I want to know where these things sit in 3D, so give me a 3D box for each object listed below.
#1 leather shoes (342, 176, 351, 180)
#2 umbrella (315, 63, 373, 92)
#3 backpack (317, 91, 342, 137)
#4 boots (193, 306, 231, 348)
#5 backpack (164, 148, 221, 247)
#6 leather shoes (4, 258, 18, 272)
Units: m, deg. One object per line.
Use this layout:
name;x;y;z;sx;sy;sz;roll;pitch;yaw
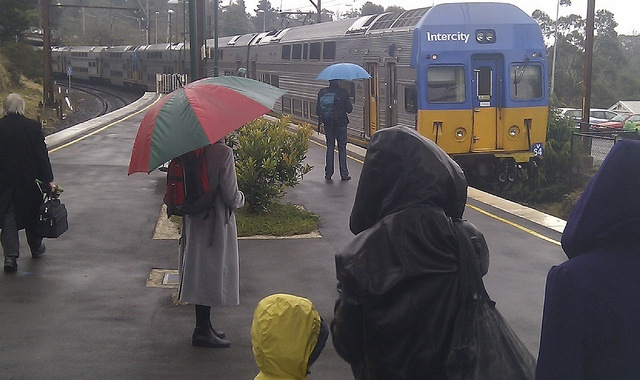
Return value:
leather shoes;0.749;-0.325;13.189;0.262;0.112;0.088;-3;10;5
umbrella;0.795;-3.282;13.274;1.090;0.406;1.110;2;11;17
backpack;0.250;-2.176;12.656;0.613;0.842;0.456;-2;12;8
boots;-1.256;1.599;5.473;0.457;0.444;0.226;1;-9;5
backpack;-1.460;-0.144;5.302;0.497;0.908;0.621;-2;3;-44
leather shoes;-4.696;1.125;7.084;0.173;0.229;0.193;-9;17;-35
